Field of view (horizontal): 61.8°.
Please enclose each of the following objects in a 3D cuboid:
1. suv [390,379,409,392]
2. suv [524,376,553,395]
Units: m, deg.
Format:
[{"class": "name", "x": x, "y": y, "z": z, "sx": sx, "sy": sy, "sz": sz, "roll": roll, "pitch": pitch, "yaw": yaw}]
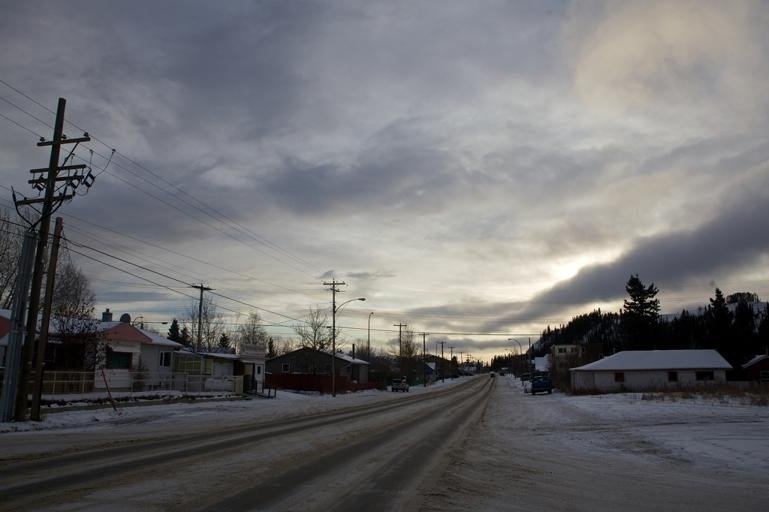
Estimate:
[{"class": "suv", "x": 2.336, "y": 17.229, "z": 84.782, "sx": 1.218, "sy": 1.277, "sz": 2.294, "roll": -3, "pitch": -8, "yaw": 13}, {"class": "suv", "x": 16.372, "y": 13.768, "z": 68.085, "sx": 1.822, "sy": 1.719, "sz": 3.508, "roll": -1, "pitch": -12, "yaw": 8}]
